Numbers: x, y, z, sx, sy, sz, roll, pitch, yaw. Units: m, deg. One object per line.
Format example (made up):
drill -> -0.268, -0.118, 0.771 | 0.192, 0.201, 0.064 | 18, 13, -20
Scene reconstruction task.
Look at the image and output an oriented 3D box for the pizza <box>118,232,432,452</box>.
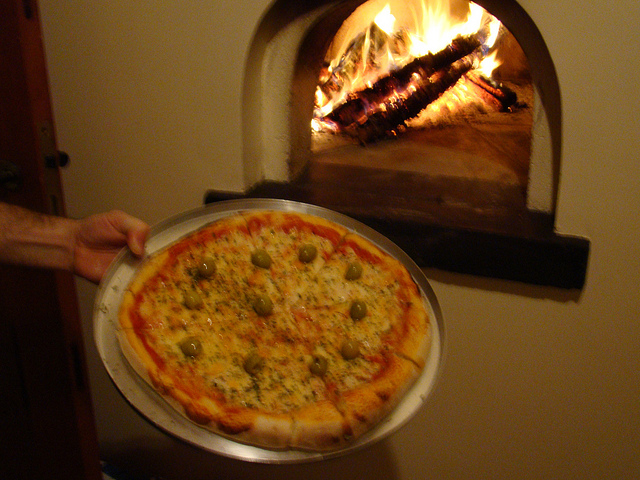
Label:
pizza -> -0.156, 0.321, 2.151 | 1.083, 0.240, 0.894 | -6, 66, -19
